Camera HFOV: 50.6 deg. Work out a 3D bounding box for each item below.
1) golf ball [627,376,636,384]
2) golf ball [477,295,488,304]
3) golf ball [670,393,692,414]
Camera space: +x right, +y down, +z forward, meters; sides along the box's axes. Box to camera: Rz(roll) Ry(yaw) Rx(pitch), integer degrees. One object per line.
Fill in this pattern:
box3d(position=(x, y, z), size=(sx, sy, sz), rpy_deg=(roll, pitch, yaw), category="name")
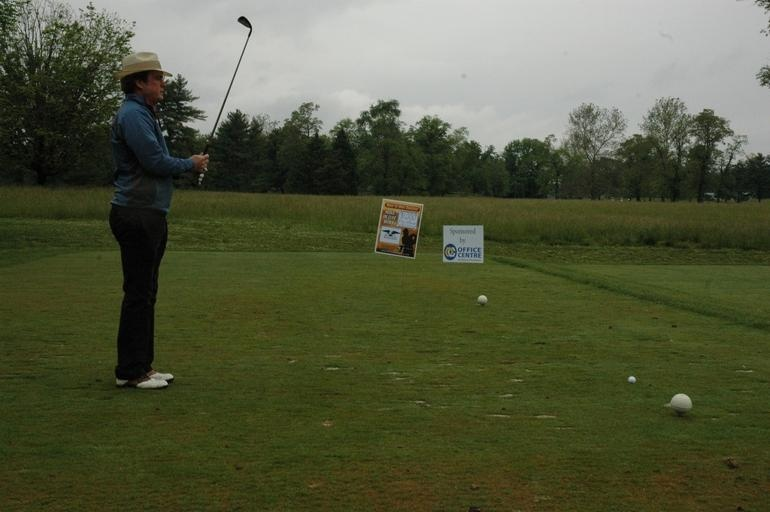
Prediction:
box3d(position=(2.692, 1.344, 8.833), size=(0.078, 0.048, 0.069), rpy_deg=(2, 6, 36), category="golf ball")
box3d(position=(1.439, 0.648, 12.027), size=(0.140, 0.101, 0.117), rpy_deg=(-5, -8, 36), category="golf ball")
box3d(position=(2.974, 1.457, 8.175), size=(0.212, 0.181, 0.192), rpy_deg=(-6, 15, 0), category="golf ball")
